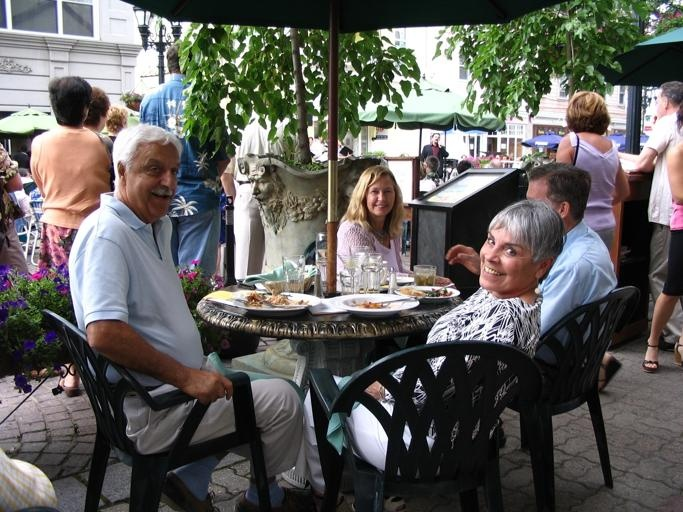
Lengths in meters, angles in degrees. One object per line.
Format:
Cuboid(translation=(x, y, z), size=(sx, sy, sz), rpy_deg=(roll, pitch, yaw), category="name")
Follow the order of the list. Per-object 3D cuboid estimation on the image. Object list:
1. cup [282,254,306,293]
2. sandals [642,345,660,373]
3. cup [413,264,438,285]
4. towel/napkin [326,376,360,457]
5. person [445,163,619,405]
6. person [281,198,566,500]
Cuboid(translation=(-0.260, 0.110, 3.152), size=(0.146, 0.222, 0.144), rpy_deg=(-7, 9, 1), category="cup")
Cuboid(translation=(2.881, 0.988, 5.000), size=(0.095, 0.138, 0.328), rpy_deg=(-2, -4, 25), category="sandals")
Cuboid(translation=(0.514, 0.123, 3.306), size=(0.122, 0.117, 0.110), rpy_deg=(-1, 3, -8), category="cup")
Cuboid(translation=(0.018, 0.676, 2.222), size=(0.083, 0.368, 0.136), rpy_deg=(-9, 19, -1), category="towel/napkin")
Cuboid(translation=(1.217, 0.156, 3.404), size=(0.890, 1.364, 0.822), rpy_deg=(2, 15, 11), category="person")
Cuboid(translation=(0.421, 0.488, 2.523), size=(1.005, 1.456, 0.770), rpy_deg=(6, 11, 2), category="person")
